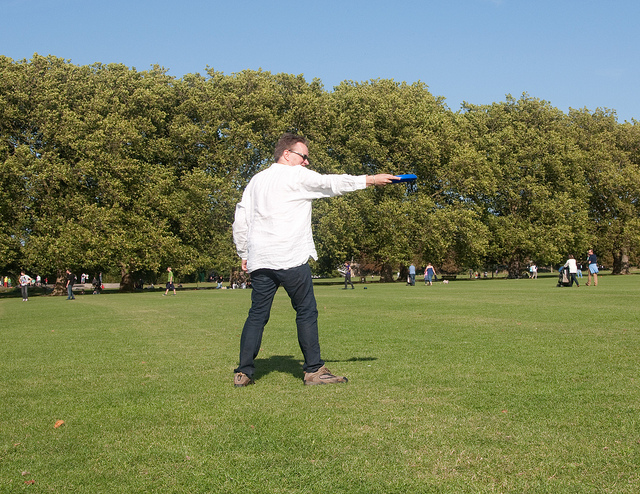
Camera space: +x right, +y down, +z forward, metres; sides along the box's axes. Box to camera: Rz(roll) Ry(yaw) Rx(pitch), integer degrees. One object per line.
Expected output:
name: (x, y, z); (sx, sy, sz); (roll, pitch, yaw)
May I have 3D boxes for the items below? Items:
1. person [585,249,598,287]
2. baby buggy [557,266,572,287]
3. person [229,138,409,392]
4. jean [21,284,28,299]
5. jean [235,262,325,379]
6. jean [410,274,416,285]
person: (14.093, 1.080, 32.538); (0.705, 1.867, 0.535); (1, -8, 23)
baby buggy: (11.755, 1.442, 30.222); (0.639, 0.930, 1.084); (-2, -3, 20)
person: (-0.318, 0.108, 7.485); (1.415, 2.898, 0.973); (-1, -2, -8)
jean: (-15.575, 2.365, 33.031); (0.214, 0.755, 0.608); (0, -3, -16)
jean: (-0.489, 0.621, 7.367); (1.106, 2.242, 0.532); (-4, 34, -5)
jean: (6.286, 2.208, 42.782); (0.260, 0.645, 0.641); (-1, -3, 2)
